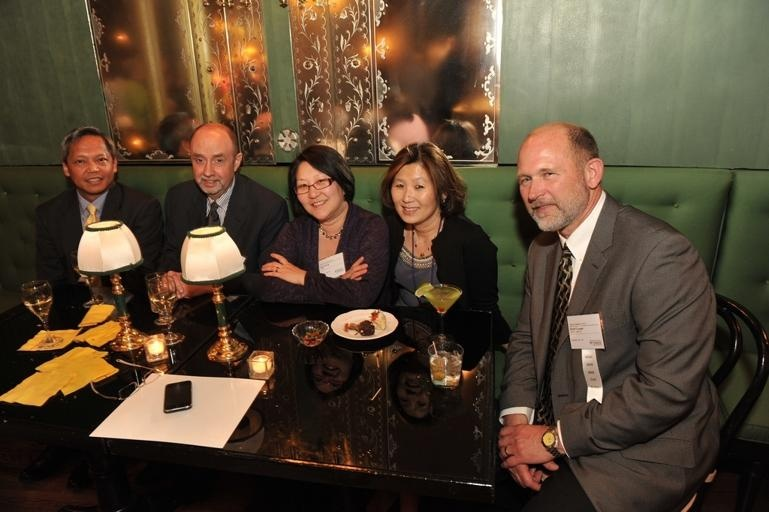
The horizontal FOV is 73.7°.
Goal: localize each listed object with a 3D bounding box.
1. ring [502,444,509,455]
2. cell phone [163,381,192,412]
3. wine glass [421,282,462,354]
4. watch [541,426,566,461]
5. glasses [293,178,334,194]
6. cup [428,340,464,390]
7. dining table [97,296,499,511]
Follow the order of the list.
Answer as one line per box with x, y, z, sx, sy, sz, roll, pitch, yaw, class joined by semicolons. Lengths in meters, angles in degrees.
0.567;0.934;2.442;0.012;0.025;0.034;0;-6;-34;ring
-0.921;0.622;2.239;0.147;0.019;0.197;-3;34;-12;cell phone
0.203;0.308;2.573;0.288;0.334;0.284;0;5;2;wine glass
0.763;0.854;2.329;0.070;0.116;0.112;-14;27;-23;watch
-0.462;-0.449;3.284;0.237;0.098;0.074;-3;25;-1;glasses
0.260;0.516;2.404;0.169;0.186;0.180;-1;5;0;cup
-0.145;0.634;2.409;1.282;0.275;0.948;1;25;7;dining table
